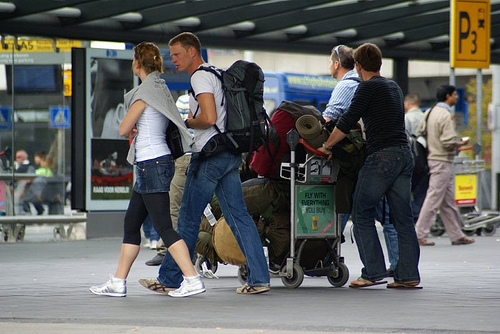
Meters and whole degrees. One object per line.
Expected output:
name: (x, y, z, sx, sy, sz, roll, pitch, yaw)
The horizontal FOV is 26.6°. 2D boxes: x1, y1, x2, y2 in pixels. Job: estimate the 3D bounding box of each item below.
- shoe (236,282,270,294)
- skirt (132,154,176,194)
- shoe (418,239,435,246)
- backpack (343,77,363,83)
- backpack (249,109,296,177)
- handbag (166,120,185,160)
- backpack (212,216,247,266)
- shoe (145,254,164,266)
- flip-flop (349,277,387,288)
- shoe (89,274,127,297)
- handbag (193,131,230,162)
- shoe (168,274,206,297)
shoe: (0.038, 1.609, 13.821, 0.420, 0.185, 0.156, 4, -1, 20)
skirt: (-1.346, 0.157, 13.868, 0.543, 0.549, 0.759, 1, -9, -37)
shoe: (3.190, 1.380, 19.157, 0.359, 0.075, 0.134, 5, -2, -38)
backpack: (1.423, -1.208, 14.569, 0.251, 0.056, 0.126, 4, -1, -6)
backpack: (0.300, -0.310, 14.100, 0.426, 0.873, 0.598, 26, -7, 6)
handbag: (-0.963, -0.331, 13.734, 0.283, 0.408, 0.113, 7, 10, 40)
backpack: (-0.293, 0.998, 14.205, 0.552, 0.505, 0.374, 3, -1, 15)
shoe: (-1.476, 1.454, 16.378, 0.225, 0.145, 0.442, 4, -1, -35)
flip-flop: (1.603, 1.574, 14.304, 0.441, 0.146, 0.176, 0, -4, 10)
shoe: (-1.863, 1.552, 13.744, 0.539, 0.317, 0.210, 0, -9, 23)
handbag: (-0.508, -0.259, 13.626, 0.437, 0.528, 0.269, 0, -2, 15)
shoe: (-0.788, 1.557, 13.556, 0.484, 0.336, 0.201, -2, -5, 14)
